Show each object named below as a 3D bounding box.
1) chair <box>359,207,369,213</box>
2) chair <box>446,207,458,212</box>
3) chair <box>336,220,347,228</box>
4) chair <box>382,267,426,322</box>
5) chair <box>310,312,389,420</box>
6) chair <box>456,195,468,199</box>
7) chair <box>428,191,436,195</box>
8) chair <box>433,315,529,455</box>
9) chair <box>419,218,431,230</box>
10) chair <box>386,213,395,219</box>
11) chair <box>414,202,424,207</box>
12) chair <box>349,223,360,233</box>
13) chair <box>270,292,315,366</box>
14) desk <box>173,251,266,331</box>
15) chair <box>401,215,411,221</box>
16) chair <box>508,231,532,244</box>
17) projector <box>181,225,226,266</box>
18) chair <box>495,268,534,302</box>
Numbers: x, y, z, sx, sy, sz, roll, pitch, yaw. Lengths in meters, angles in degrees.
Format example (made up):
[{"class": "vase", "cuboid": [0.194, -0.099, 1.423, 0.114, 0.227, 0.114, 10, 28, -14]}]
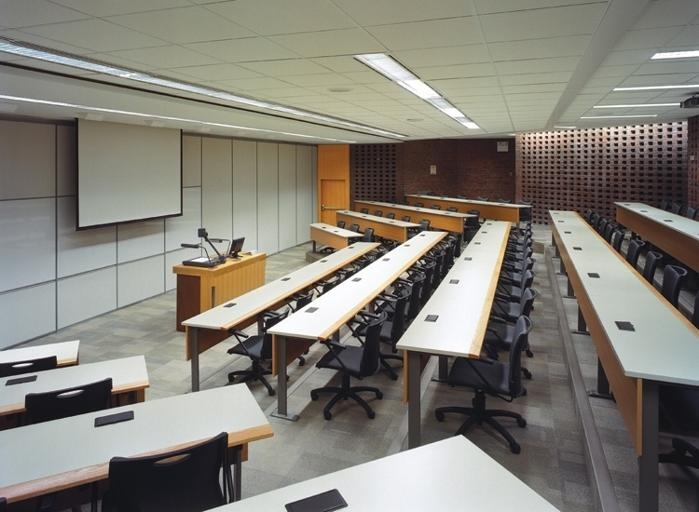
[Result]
[{"class": "chair", "cuboid": [0.521, -1.777, 17.186, 0.305, 0.430, 0.306, 3, 8, 25]}, {"class": "chair", "cuboid": [3.549, -1.623, 15.482, 0.247, 0.213, 0.277, -2, 0, 18]}, {"class": "chair", "cuboid": [-0.305, -1.061, 14.936, 0.327, 0.396, 0.288, 1, 2, 29]}, {"class": "chair", "cuboid": [0.818, 0.593, 6.845, 0.506, 0.676, 0.576, 28, 37, 29]}, {"class": "chair", "cuboid": [-0.170, 1.264, 5.699, 1.206, 1.294, 1.216, 3, 1, 13]}, {"class": "chair", "cuboid": [4.418, -2.352, 17.562, 0.413, 0.233, 0.410, 0, 6, 3]}, {"class": "chair", "cuboid": [3.291, -2.503, 17.752, 0.220, 0.227, 0.220, 1, 1, 28]}, {"class": "chair", "cuboid": [1.643, 1.270, 5.321, 1.399, 1.496, 1.378, 2, 2, 15]}, {"class": "chair", "cuboid": [2.289, -0.966, 13.683, 0.295, 0.337, 0.359, 0, -3, 24]}, {"class": "chair", "cuboid": [1.365, -1.363, 15.024, 0.213, 0.273, 0.209, 0, -1, 26]}, {"class": "chair", "cuboid": [2.478, -1.856, 16.071, 0.217, 0.221, 0.222, 0, -1, 22]}, {"class": "chair", "cuboid": [0.147, -0.869, 13.696, 0.323, 0.267, 0.227, 0, 2, 10]}, {"class": "chair", "cuboid": [-0.765, 0.965, 5.858, 0.385, 0.544, 1.134, 1, 9, 6]}, {"class": "desk", "cuboid": [-2.544, 0.600, 9.032, 0.843, 1.243, 2.253, 10, 12, 11]}, {"class": "chair", "cuboid": [1.805, -1.225, 14.537, 0.214, 0.208, 0.207, 0, -1, 19]}, {"class": "chair", "cuboid": [4.499, -0.493, 11.860, 0.469, 0.485, 0.462, 5, 5, 15]}, {"class": "projector", "cuboid": [-3.355, -0.241, 10.031, 0.679, 0.678, 0.994, 0, 7, -2]}, {"class": "chair", "cuboid": [2.828, 0.383, 7.505, 0.691, 0.666, 0.638, 2, 12, 15]}]
